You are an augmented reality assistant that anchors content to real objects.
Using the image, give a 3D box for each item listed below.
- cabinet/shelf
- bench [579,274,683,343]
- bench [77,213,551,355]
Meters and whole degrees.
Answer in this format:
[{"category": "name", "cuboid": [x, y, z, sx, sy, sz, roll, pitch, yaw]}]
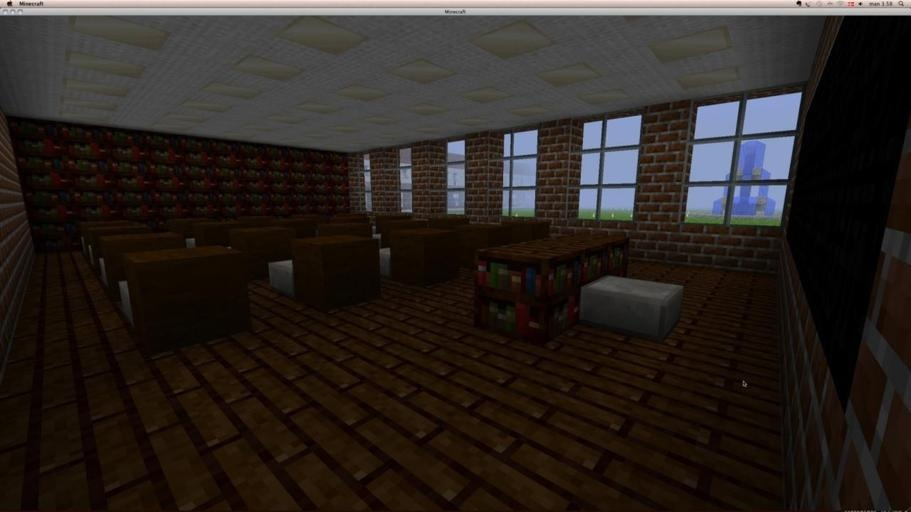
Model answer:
[{"category": "cabinet/shelf", "cuboid": [1.167, 0.337, 5.082, 1.694, 0.975, 0.830, -10, 15, -44]}, {"category": "bench", "cuboid": [2.028, 0.557, 4.789, 0.847, 0.330, 0.855, 5, 10, 38]}, {"category": "bench", "cuboid": [-1.709, 0.033, 6.780, 5.962, 1.017, 2.724, -8, 13, -39]}]
